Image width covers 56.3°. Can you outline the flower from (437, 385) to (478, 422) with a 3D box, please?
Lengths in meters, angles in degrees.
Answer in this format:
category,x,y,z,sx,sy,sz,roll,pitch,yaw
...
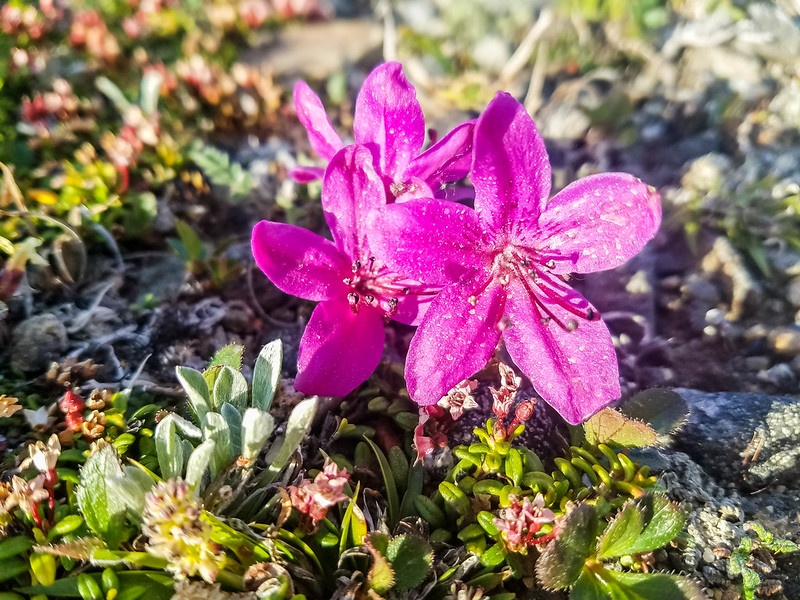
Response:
category,x,y,z,sx,sy,sz,roll,pitch,yaw
flower,0.296,0.509,3.759,0.183,0.186,0.087,24,16,19

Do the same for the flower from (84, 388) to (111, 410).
category,x,y,z,sx,sy,sz,roll,pitch,yaw
flower,-1.539,0.505,3.808,0.081,0.048,0.113,-4,17,-3

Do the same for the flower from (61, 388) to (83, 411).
category,x,y,z,sx,sy,sz,roll,pitch,yaw
flower,-1.638,0.500,3.727,0.077,0.078,0.079,12,55,17

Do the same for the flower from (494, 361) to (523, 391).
category,x,y,z,sx,sy,sz,roll,pitch,yaw
flower,0.567,0.389,3.809,0.132,0.062,0.117,38,98,38

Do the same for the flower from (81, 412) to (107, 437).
category,x,y,z,sx,sy,sz,roll,pitch,yaw
flower,-1.520,0.619,3.719,0.098,0.070,0.126,14,65,-7

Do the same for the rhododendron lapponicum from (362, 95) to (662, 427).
category,x,y,z,sx,sy,sz,roll,pitch,yaw
rhododendron lapponicum,0.522,-0.164,3.564,1.273,1.076,1.185,12,54,10
